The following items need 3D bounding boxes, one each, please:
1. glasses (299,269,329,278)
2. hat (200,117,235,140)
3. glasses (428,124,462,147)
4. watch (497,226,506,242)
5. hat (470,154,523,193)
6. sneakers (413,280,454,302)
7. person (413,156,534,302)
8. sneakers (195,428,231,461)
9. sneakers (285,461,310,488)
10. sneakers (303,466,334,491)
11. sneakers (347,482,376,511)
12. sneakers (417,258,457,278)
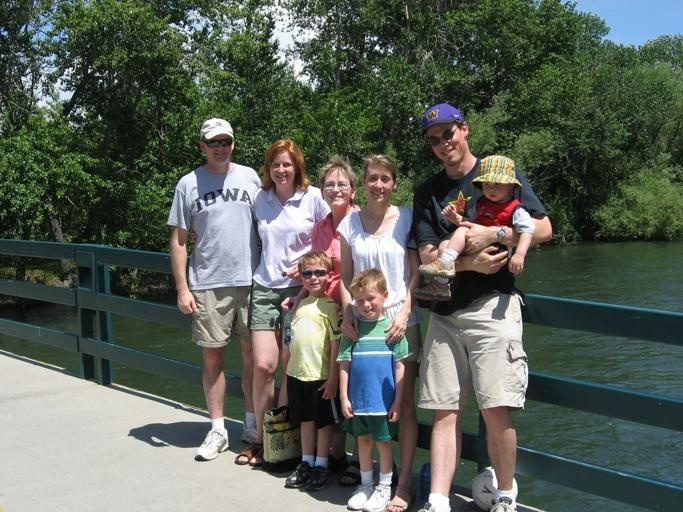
[{"bbox_3d":[-0.213,0.144,5.909,0.235,0.066,0.083,-4,15,-10],"label":"glasses"},{"bbox_3d":[-1.122,-1.134,6.447,0.266,0.183,0.266,-3,15,-8],"label":"hat"},{"bbox_3d":[0.823,-0.950,5.570,0.187,0.066,0.197,-25,9,41],"label":"glasses"},{"bbox_3d":[1.184,-0.169,5.327,0.055,0.089,0.084,1,-5,-3],"label":"watch"},{"bbox_3d":[1.156,-0.612,5.364,0.238,0.155,0.273,4,2,31],"label":"hat"},{"bbox_3d":[0.702,0.235,5.449,0.299,0.217,0.122,7,27,24],"label":"sneakers"},{"bbox_3d":[0.962,-0.204,5.392,0.859,1.080,0.632,1,9,-18],"label":"person"},{"bbox_3d":[-1.133,1.664,6.307,0.135,0.176,0.379,3,2,23],"label":"sneakers"},{"bbox_3d":[-0.325,1.781,5.929,0.108,0.141,0.298,9,18,42],"label":"sneakers"},{"bbox_3d":[-0.195,1.807,5.832,0.106,0.126,0.273,-1,3,24],"label":"sneakers"},{"bbox_3d":[0.158,1.886,5.633,0.101,0.124,0.279,-15,-1,34],"label":"sneakers"},{"bbox_3d":[0.717,0.100,5.346,0.270,0.143,0.114,3,0,5],"label":"sneakers"}]
